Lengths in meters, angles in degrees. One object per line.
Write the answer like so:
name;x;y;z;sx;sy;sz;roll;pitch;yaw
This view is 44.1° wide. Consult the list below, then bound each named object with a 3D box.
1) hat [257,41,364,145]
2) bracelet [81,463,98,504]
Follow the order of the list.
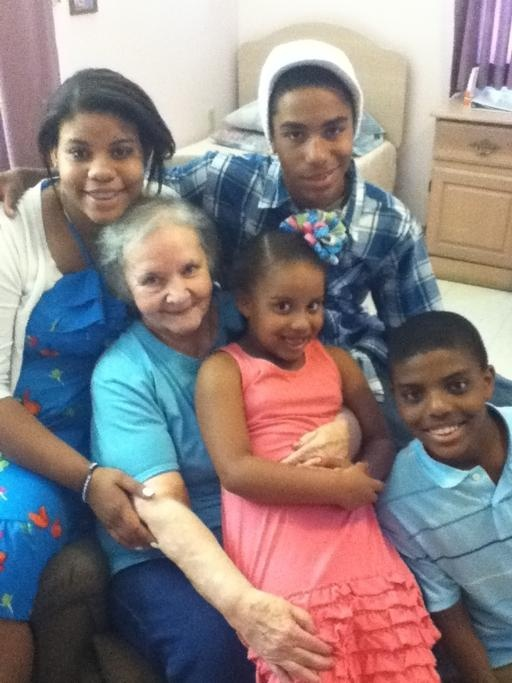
hat;0.113;-0.532;1.349;0.213;0.204;0.196;-1;25;2
bracelet;-0.276;0.241;1.085;0.024;0.056;0.047;6;5;17
